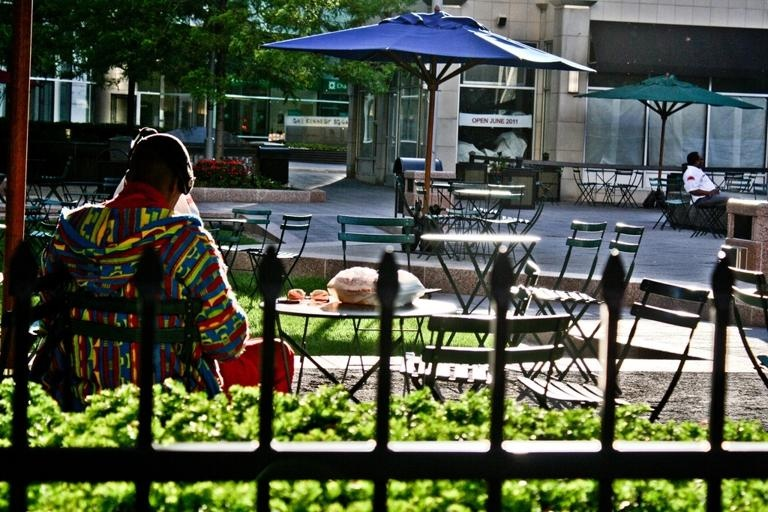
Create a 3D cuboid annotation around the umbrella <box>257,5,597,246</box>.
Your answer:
[{"bbox_3d":[0.665,-2.050,18.984,4.122,2.463,3.853,-2,-11,0],"label":"umbrella"}]

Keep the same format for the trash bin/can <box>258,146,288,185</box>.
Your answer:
[{"bbox_3d":[-2.511,-2.039,30.235,0.865,1.001,0.833,0,8,-4],"label":"trash bin/can"}]

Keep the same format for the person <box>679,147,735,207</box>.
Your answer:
[{"bbox_3d":[5.731,-1.231,23.195,0.989,1.087,0.661,4,9,15],"label":"person"}]
